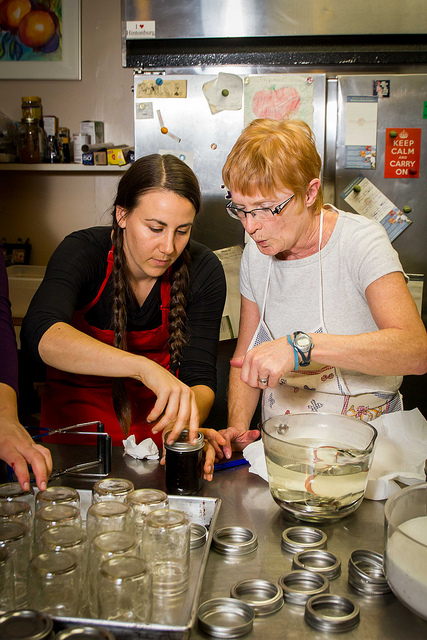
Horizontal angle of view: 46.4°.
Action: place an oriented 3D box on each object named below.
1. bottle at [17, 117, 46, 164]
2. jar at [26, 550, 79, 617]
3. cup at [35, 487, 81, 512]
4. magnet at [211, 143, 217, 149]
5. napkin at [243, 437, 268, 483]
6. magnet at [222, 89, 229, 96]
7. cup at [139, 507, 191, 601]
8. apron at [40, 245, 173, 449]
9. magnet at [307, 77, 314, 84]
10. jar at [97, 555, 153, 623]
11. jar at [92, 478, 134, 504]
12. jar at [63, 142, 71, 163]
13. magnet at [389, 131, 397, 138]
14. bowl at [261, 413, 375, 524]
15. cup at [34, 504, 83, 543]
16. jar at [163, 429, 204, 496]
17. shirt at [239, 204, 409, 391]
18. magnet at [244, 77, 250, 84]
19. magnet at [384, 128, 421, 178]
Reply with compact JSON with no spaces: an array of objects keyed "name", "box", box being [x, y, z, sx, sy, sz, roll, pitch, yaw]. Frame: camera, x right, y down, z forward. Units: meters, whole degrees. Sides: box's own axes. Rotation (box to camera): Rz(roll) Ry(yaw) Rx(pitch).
[{"name":"bottle","box":[-1.098,-1.096,3.038,0.186,0.273,0.180,0,8,0]},{"name":"jar","box":[-0.173,0.292,0.548,0.048,0.076,0.048,4,22,-2]},{"name":"cup","box":[-0.235,0.261,0.748,0.040,0.039,0.039,1,0,0]},{"name":"magnet","box":[0.001,-0.860,2.442,0.019,0.019,0.007,-13,2,19]},{"name":"napkin","box":[0.093,0.291,1.057,0.025,0.082,0.082,-14,-10,-17]},{"name":"magnet","box":[0.056,-1.089,2.373,0.022,0.025,0.021,-9,14,-39]},{"name":"cup","box":[-0.061,0.313,0.657,0.066,0.103,0.063,-1,-9,0]},{"name":"apron","box":[-0.391,0.151,1.532,0.412,0.684,0.422,8,15,8]},{"name":"magnet","box":[0.457,-1.144,2.353,0.027,0.026,0.006,4,-2,-3]},{"name":"jar","box":[-0.095,0.292,0.535,0.055,0.054,0.057,0,2,0]},{"name":"jar","box":[-0.163,0.263,0.788,0.042,0.041,0.042,1,1,0]},{"name":"jar","box":[-0.897,-1.029,3.043,0.025,0.118,0.046,3,11,27]},{"name":"magnet","box":[0.854,-0.890,2.365,0.029,0.029,0.008,0,7,10]},{"name":"bowl","box":[0.172,0.260,0.830,0.178,0.179,0.181,-1,10,0]},{"name":"cup","box":[-0.207,0.262,0.659,0.059,0.060,0.059,0,-4,0]},{"name":"jar","box":[-0.053,0.272,0.975,0.088,0.107,0.105,3,13,1]},{"name":"shirt","box":[0.261,-0.048,1.216,0.436,0.479,0.262,-10,14,40]},{"name":"magnet","box":[0.160,-1.149,2.370,0.032,0.029,0.008,-1,-2,-1]},{"name":"magnet","box":[0.905,-0.805,2.380,0.161,0.228,0.031,-2,9,-4]}]
